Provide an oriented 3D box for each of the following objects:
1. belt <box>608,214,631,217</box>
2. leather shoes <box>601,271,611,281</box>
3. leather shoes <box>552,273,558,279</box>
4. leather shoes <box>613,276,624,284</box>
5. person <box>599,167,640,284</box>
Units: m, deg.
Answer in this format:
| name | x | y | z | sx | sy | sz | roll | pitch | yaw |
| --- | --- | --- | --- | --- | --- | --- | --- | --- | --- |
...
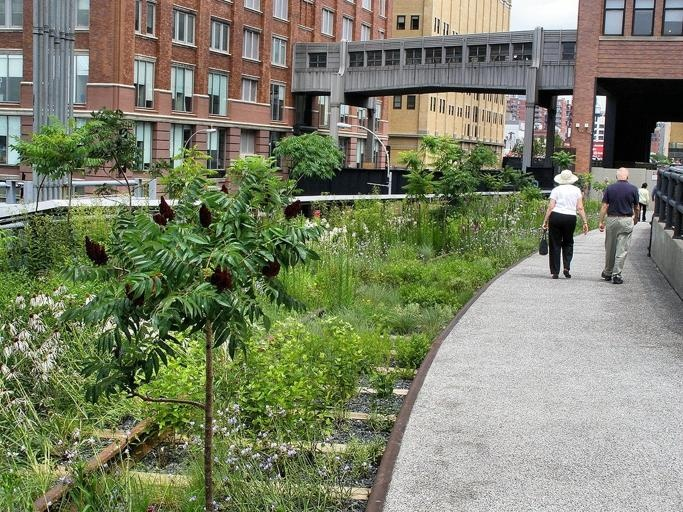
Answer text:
| name | x | y | z | sx | sy | sz | roll | pitch | yaw |
| --- | --- | --- | --- | --- | --- | --- | --- | --- | --- |
| belt | 5.217 | -0.787 | 13.631 | 0.349 | 0.055 | 0.095 | 0 | 7 | 7 |
| leather shoes | 4.975 | 0.347 | 13.681 | 0.117 | 0.173 | 0.341 | -1 | 8 | -8 |
| leather shoes | 4.055 | 0.377 | 13.765 | 0.046 | 0.118 | 0.153 | 1 | 12 | 5 |
| leather shoes | 5.041 | 0.420 | 13.277 | 0.183 | 0.190 | 0.124 | -3 | 5 | -23 |
| person | 5.184 | -0.615 | 13.589 | 0.616 | 2.124 | 1.168 | 2 | 7 | 23 |
